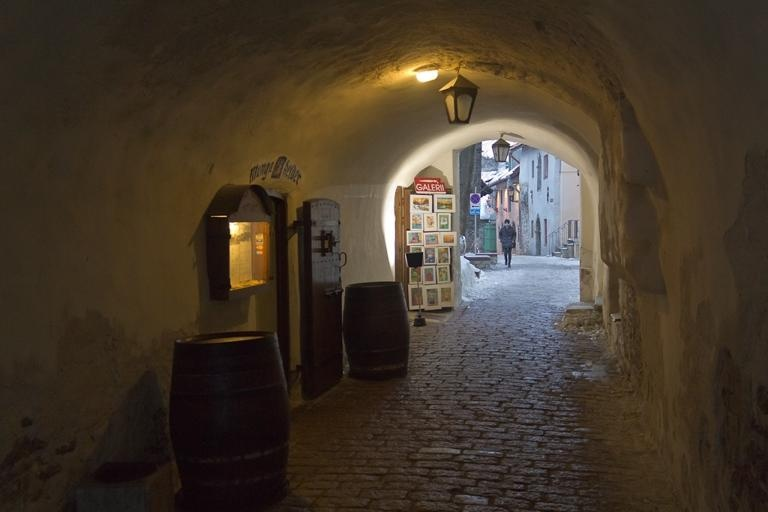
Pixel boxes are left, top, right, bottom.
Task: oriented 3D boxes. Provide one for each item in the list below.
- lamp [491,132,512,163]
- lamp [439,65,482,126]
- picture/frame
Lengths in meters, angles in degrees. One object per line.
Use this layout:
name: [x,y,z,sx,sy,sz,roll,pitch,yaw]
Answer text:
lamp: [2.863,-2.664,13.672,0.385,0.649,0.990,0,4,11]
lamp: [0.889,-1.882,6.466,0.465,0.681,0.460,3,6,33]
picture/frame: [1.164,-0.090,12.920,1.379,2.737,0.252,-2,3,-26]
